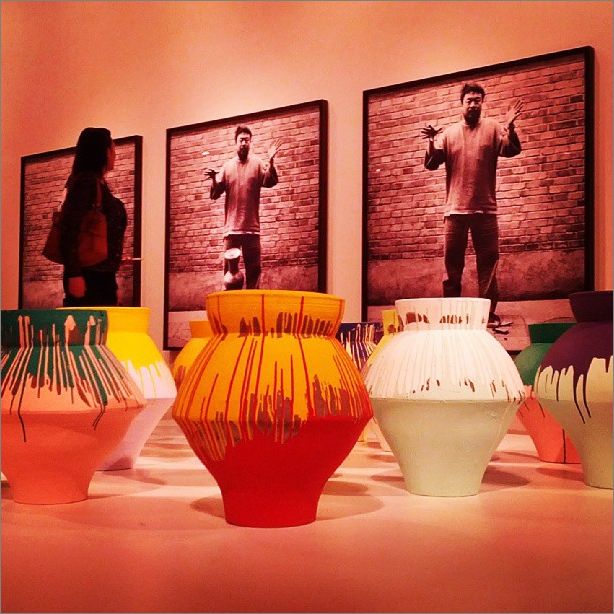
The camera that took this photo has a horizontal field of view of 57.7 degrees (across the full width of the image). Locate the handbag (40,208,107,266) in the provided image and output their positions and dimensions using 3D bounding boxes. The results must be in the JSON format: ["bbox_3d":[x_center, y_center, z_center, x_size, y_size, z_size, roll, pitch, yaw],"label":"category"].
[{"bbox_3d":[-0.998,-0.345,2.441,0.228,0.332,0.162,-1,-2,29],"label":"handbag"}]

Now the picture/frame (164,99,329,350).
[{"bbox_3d":[-0.525,-0.538,4.101,1.466,1.789,0.225,3,5,26],"label":"picture/frame"}]
